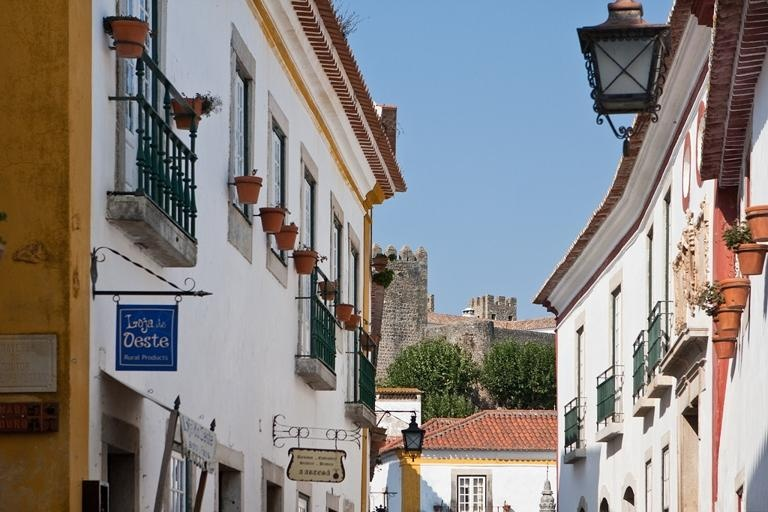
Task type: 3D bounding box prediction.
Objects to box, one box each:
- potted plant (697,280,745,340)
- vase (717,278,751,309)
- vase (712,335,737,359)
[{"bbox_3d":[3.549,0.471,25.812,0.552,0.629,0.543,1,-23,5],"label":"potted plant"},{"bbox_3d":[3.629,0.400,25.677,0.290,0.250,0.304,9,-24,-12],"label":"vase"},{"bbox_3d":[3.556,0.931,25.964,0.229,0.197,0.243,1,-22,5],"label":"vase"}]
